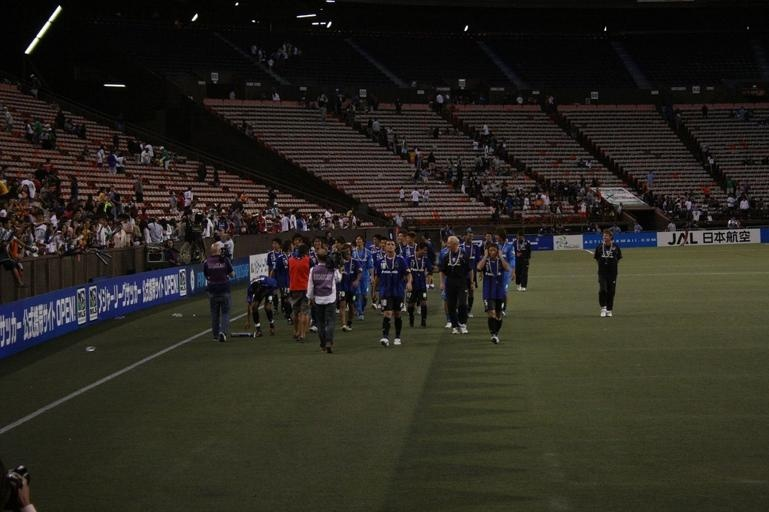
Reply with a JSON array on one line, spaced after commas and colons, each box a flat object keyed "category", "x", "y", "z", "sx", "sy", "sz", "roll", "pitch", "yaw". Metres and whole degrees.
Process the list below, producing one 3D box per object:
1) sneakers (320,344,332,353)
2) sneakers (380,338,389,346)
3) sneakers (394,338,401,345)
[{"category": "sneakers", "x": -1.718, "y": 2.743, "z": 26.670, "sx": 0.187, "sy": 0.152, "sz": 0.417, "roll": 21, "pitch": -12, "yaw": -27}, {"category": "sneakers", "x": -0.006, "y": 2.622, "z": 27.282, "sx": 0.156, "sy": 0.318, "sz": 0.147, "roll": -1, "pitch": 42, "yaw": 6}, {"category": "sneakers", "x": 0.380, "y": 2.626, "z": 27.621, "sx": 0.224, "sy": 0.206, "sz": 0.140, "roll": 0, "pitch": 3, "yaw": 0}]
